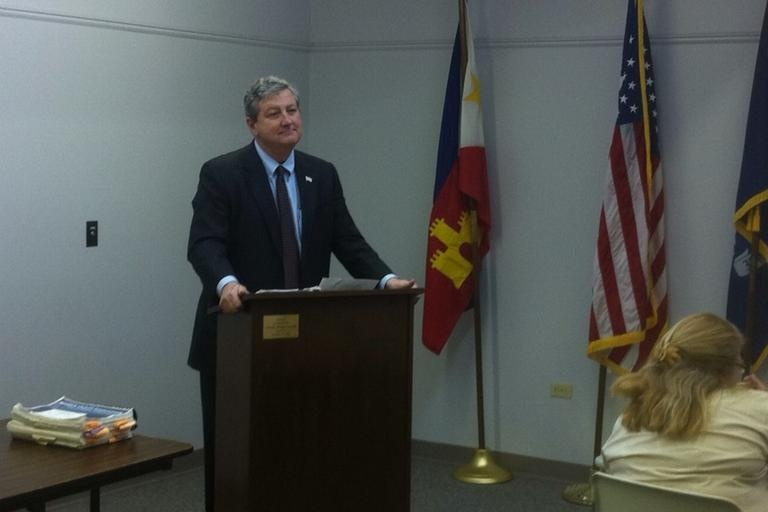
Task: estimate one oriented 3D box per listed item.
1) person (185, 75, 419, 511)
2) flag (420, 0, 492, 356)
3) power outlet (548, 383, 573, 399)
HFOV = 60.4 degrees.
[{"bbox_3d":[-0.438,0.155,2.919,0.824,1.934,0.590,-2,3,-18],"label":"person"},{"bbox_3d":[0.499,-0.535,4.568,0.501,2.411,0.239,-2,3,-9],"label":"flag"},{"bbox_3d":[1.260,0.954,4.673,0.158,0.111,0.022,-1,3,14],"label":"power outlet"}]
